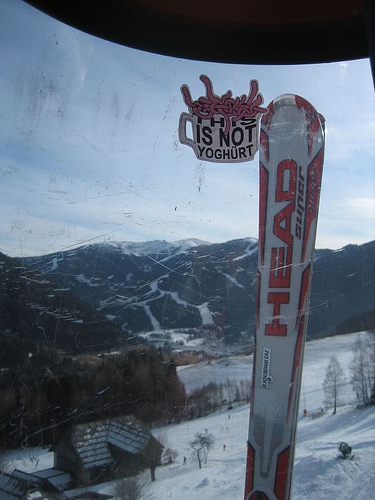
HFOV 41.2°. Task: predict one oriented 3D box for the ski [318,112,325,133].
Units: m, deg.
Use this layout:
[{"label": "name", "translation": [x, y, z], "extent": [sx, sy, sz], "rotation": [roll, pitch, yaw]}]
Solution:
[{"label": "ski", "translation": [1.011, -0.966, 3.767], "extent": [0.030, 0.151, 0.027], "rotation": [-8, 13, 10]}]
